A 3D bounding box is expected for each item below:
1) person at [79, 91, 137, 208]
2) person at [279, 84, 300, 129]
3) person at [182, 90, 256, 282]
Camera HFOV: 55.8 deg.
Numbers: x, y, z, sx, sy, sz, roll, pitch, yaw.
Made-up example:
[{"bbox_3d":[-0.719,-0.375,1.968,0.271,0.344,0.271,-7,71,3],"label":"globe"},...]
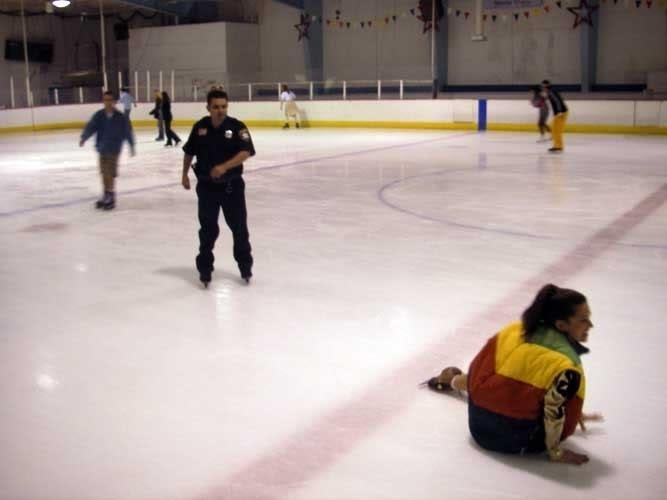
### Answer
[{"bbox_3d":[-2.934,-1.300,8.189,0.640,1.455,1.260,-6,15,-17],"label":"person"},{"bbox_3d":[-1.457,-4.785,21.126,0.687,1.420,0.955,-2,14,-4],"label":"person"},{"bbox_3d":[-0.888,-0.459,4.871,0.541,1.515,0.443,11,19,40],"label":"person"}]
